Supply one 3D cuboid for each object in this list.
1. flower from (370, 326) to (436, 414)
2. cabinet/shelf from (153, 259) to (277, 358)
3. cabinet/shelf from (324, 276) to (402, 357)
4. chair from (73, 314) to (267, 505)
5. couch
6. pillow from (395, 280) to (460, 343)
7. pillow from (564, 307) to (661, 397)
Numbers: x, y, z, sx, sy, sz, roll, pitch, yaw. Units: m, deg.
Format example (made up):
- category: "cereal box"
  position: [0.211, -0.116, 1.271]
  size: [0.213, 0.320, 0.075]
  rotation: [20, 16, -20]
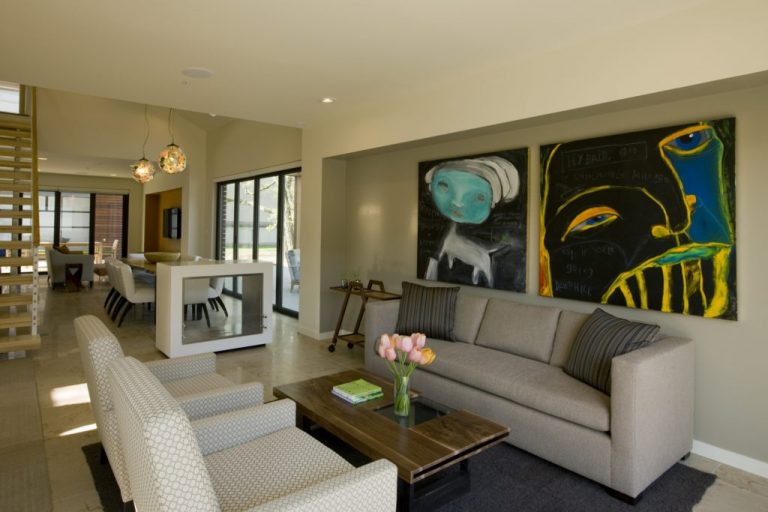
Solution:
- category: "flower"
  position: [0.171, 0.833, 4.189]
  size: [0.587, 0.771, 0.655]
  rotation: [2, 3, 21]
- category: "cabinet/shelf"
  position: [-2.088, 0.651, 6.216]
  size: [1.248, 0.985, 0.433]
  rotation: [0, 0, -42]
- category: "cabinet/shelf"
  position: [-0.260, 0.716, 6.148]
  size: [0.379, 0.830, 0.962]
  rotation: [2, 3, -34]
- category: "chair"
  position: [-1.731, 1.056, 4.271]
  size: [1.499, 1.449, 1.372]
  rotation: [-5, 8, -37]
- category: "couch"
  position: [1.244, 1.077, 5.012]
  size: [1.135, 1.099, 2.947]
  rotation: [-9, 10, -37]
- category: "pillow"
  position: [0.457, 0.605, 5.488]
  size: [0.631, 0.561, 0.182]
  rotation: [8, -11, 27]
- category: "pillow"
  position: [1.965, 0.828, 4.301]
  size: [0.206, 0.642, 0.661]
  rotation: [24, 0, -18]
